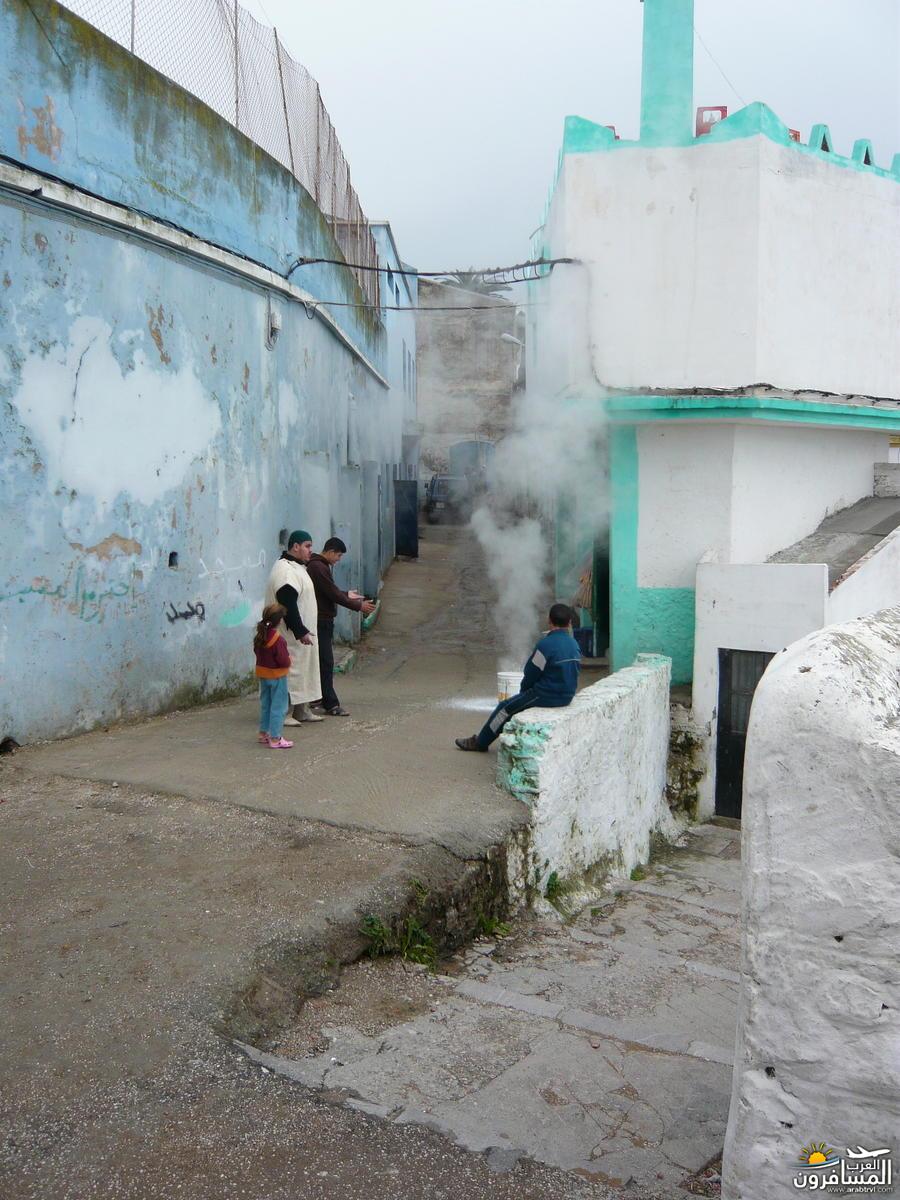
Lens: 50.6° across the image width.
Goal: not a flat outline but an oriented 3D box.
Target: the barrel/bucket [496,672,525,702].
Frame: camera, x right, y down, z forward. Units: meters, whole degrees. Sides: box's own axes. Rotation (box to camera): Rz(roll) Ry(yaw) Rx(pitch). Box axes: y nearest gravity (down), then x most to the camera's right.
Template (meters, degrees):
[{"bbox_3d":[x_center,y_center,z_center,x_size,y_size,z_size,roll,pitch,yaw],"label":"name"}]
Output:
[{"bbox_3d":[0.508,0.749,8.256,0.220,0.294,0.262,3,-3,-9],"label":"barrel/bucket"}]

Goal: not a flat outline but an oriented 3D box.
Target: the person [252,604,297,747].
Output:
[{"bbox_3d":[-1.185,0.510,6.572,0.333,0.987,0.665,8,5,-9],"label":"person"}]

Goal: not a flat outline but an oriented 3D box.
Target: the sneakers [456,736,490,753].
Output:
[{"bbox_3d":[0.154,1.013,6.632,0.175,0.090,0.107,7,-9,18],"label":"sneakers"}]

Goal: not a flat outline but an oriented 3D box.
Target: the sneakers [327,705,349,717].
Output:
[{"bbox_3d":[-0.917,0.922,7.899,0.197,0.095,0.073,0,0,20],"label":"sneakers"}]

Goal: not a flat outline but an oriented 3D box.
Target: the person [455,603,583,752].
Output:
[{"bbox_3d":[0.510,0.578,6.345,0.618,0.779,0.670,9,5,-5],"label":"person"}]
